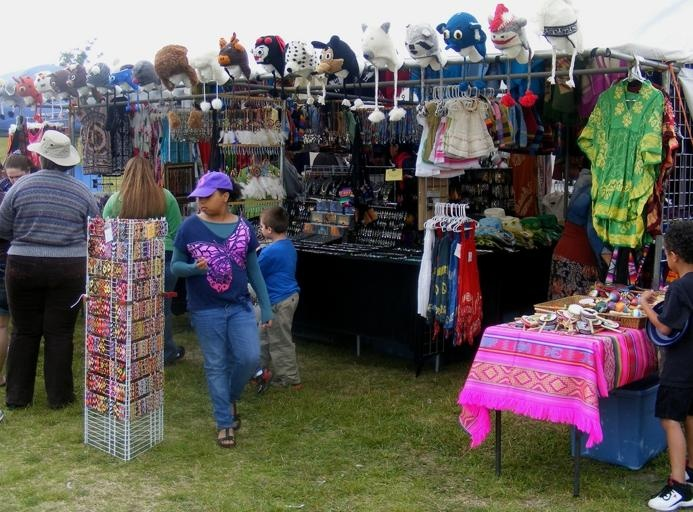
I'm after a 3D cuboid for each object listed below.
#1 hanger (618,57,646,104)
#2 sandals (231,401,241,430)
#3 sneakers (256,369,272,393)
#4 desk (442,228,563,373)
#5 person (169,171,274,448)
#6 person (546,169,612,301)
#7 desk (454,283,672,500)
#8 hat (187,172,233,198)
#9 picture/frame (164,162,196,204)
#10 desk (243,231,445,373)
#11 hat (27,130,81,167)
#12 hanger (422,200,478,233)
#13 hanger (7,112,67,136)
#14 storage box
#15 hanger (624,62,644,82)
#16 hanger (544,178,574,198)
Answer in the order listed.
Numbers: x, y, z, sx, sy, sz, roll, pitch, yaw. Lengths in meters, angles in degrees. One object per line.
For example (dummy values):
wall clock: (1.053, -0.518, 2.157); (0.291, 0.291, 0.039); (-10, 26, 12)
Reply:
hanger: (2.274, -1.404, 6.664); (0.088, 0.448, 0.288); (-19, 29, -23)
sandals: (-0.890, 1.307, 6.770); (0.073, 0.238, 0.293); (-1, 3, -5)
sneakers: (-0.741, 1.095, 7.419); (0.161, 0.266, 0.076); (11, -8, -30)
desk: (1.698, 0.422, 8.779); (1.054, 1.774, 1.103); (-1, 10, 4)
person: (-0.942, 0.402, 6.408); (0.762, 2.051, 0.472); (-3, 11, -15)
person: (2.245, -0.165, 7.882); (0.350, 1.280, 0.654); (-5, 12, -24)
desk: (1.630, 1.022, 6.274); (1.035, 1.066, 1.564); (4, 6, 36)
hat: (-1.012, -0.546, 6.346); (0.276, 0.163, 0.179); (-4, 4, -43)
picture/frame: (-2.003, -1.091, 10.106); (0.325, 0.484, 0.610); (1, -31, -7)
desk: (0.230, 0.417, 8.726); (1.793, 1.246, 0.587); (10, -26, -27)
hat: (-2.365, -0.910, 6.796); (0.406, 0.174, 0.387); (28, 25, 22)
hanger: (0.918, -0.370, 7.733); (0.320, 0.231, 0.341); (-2, 10, -14)
hanger: (-4.036, -1.744, 10.976); (0.604, 0.320, 0.652); (3, 4, 32)
storage box: (1.989, 1.224, 6.096); (0.650, 0.531, 0.501); (-3, 2, -44)
hanger: (2.301, -1.481, 6.659); (0.119, 0.174, 0.189); (4, 12, 16)
hanger: (2.741, -0.890, 10.824); (0.346, 0.097, 0.370); (11, 23, 36)
